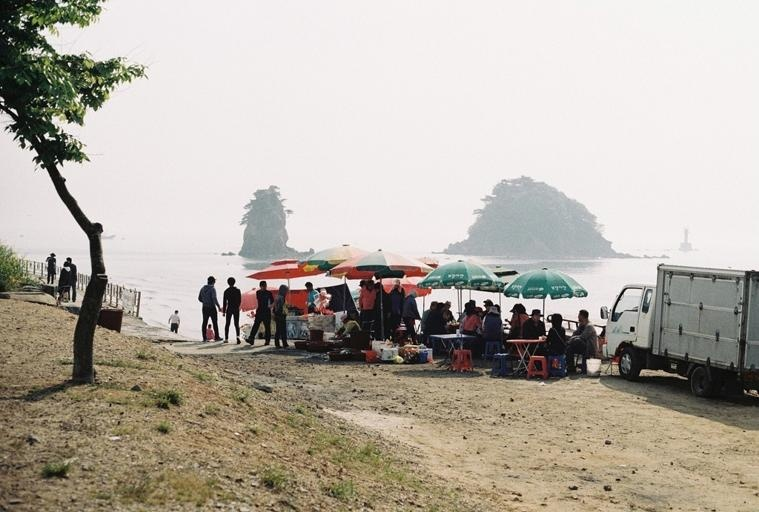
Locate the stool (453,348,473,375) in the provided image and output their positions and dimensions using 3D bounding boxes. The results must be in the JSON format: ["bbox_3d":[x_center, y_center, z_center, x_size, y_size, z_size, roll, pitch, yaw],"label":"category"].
[{"bbox_3d":[2.470,3.109,27.244,0.635,0.613,0.652,3,6,4],"label":"stool"}]

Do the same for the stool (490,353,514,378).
[{"bbox_3d":[3.606,3.249,27.075,0.681,0.679,0.693,-2,-6,14],"label":"stool"}]

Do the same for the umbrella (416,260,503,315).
[{"bbox_3d":[2.762,1.019,29.938,2.487,1.924,3.832,3,6,8],"label":"umbrella"}]

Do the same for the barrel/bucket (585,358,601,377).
[{"bbox_3d":[6.407,3.341,27.333,0.445,0.456,0.453,0,-6,0],"label":"barrel/bucket"}]

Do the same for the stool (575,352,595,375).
[{"bbox_3d":[6.187,3.257,27.786,0.539,0.484,0.657,0,-6,5],"label":"stool"}]

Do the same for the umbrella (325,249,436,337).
[{"bbox_3d":[-0.057,1.150,30.817,3.201,2.947,3.149,2,6,-5],"label":"umbrella"}]

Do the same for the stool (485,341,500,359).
[{"bbox_3d":[3.640,3.022,29.432,0.552,0.552,0.576,-1,-9,5],"label":"stool"}]

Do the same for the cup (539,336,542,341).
[{"bbox_3d":[4.816,2.461,27.310,0.121,0.098,0.122,7,-1,0],"label":"cup"}]

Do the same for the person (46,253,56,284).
[{"bbox_3d":[-15.899,0.572,44.296,0.345,1.463,2.099,0,7,-22],"label":"person"}]

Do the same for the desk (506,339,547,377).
[{"bbox_3d":[4.478,3.089,27.718,1.053,0.835,1.092,0,-6,-2],"label":"desk"}]

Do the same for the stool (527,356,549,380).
[{"bbox_3d":[4.612,3.272,26.702,0.600,0.601,0.623,-3,0,8],"label":"stool"}]

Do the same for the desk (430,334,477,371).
[{"bbox_3d":[2.415,2.964,28.281,0.738,0.930,1.723,5,-9,-2],"label":"desk"}]

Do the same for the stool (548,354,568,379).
[{"bbox_3d":[5.223,3.244,26.974,0.595,0.613,0.614,0,-7,-5],"label":"stool"}]

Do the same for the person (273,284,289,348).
[{"bbox_3d":[-3.248,1.993,30.172,0.478,2.154,1.007,1,6,-7],"label":"person"}]

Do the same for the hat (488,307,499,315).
[{"bbox_3d":[3.513,1.675,28.329,0.311,0.312,0.536,4,6,13],"label":"hat"}]

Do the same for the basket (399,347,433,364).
[{"bbox_3d":[1.130,3.104,28.886,1.046,0.460,0.577,2,6,-5],"label":"basket"}]
